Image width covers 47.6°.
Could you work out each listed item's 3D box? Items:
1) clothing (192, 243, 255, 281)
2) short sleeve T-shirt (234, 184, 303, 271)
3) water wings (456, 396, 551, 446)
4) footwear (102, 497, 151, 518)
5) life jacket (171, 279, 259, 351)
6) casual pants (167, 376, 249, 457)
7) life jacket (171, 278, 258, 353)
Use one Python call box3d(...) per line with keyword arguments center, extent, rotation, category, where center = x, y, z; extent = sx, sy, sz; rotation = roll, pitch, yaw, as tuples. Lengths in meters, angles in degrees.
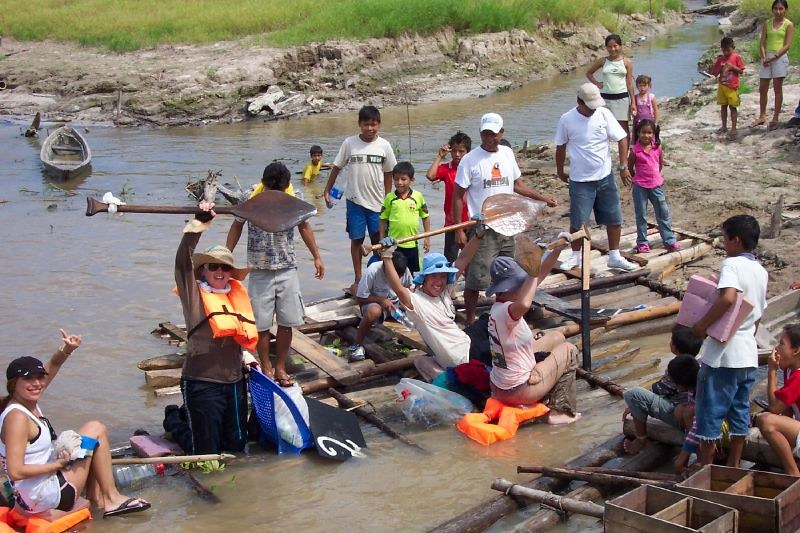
box3d(center=(-2.162, -0.090, 10.575), extent=(0.471, 0.181, 0.451), rotation=(16, 4, -18), category="clothing")
box3d(center=(-1.653, -0.428, 11.547), extent=(0.964, 0.844, 0.531), rotation=(-1, 7, -15), category="short sleeve T-shirt")
box3d(center=(1.253, 1.788, 11.044), extent=(1.086, 0.252, 0.846), rotation=(-24, 24, -36), category="water wings")
box3d(center=(-2.963, 2.634, 9.878), extent=(0.386, 0.106, 0.216), rotation=(-7, 1, -2), category="footwear")
box3d(center=(-2.054, 0.641, 10.569), extent=(0.720, 0.849, 0.372), rotation=(4, -36, -36), category="life jacket")
box3d(center=(-2.375, 1.719, 10.970), extent=(1.318, 0.833, 0.851), rotation=(6, 7, 44), category="casual pants")
box3d(center=(-2.051, 0.655, 10.509), extent=(0.719, 0.848, 0.349), rotation=(4, -34, -37), category="life jacket")
